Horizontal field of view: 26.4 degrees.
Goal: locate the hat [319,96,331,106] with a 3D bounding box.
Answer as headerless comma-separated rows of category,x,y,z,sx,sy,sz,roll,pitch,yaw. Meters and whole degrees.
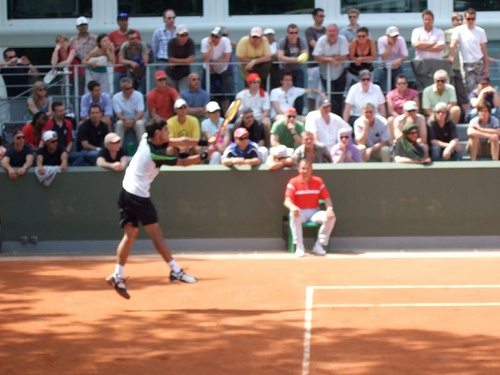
hat,1.548,-1.757,22.035,0.231,0.165,0.231,0,9,4

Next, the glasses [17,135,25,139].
glasses,-4.652,-1.038,21.751,0.073,0.075,0.166,4,10,33

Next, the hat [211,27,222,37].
hat,-0.716,-3.434,23.477,0.291,0.205,0.255,-4,9,-17

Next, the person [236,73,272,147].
person,0.108,-1.566,22.666,0.743,1.716,1.005,2,13,10

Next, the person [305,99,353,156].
person,1.592,-1.151,22.055,0.944,1.388,0.649,-5,-4,-18

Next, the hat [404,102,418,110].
hat,3.266,-1.679,21.831,0.272,0.188,0.354,0,9,10

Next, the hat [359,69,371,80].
hat,2.435,-2.399,22.565,0.163,0.237,0.208,1,5,7

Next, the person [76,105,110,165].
person,-3.225,-1.007,22.391,0.688,1.522,0.955,-6,22,-26

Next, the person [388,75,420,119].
person,3.177,-1.917,22.639,0.765,1.111,0.804,1,16,6

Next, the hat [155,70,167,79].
hat,-1.897,-2.423,22.666,0.227,0.190,0.394,4,10,-5

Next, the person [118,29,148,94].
person,-2.540,-2.539,23.588,0.644,1.923,0.769,-1,12,5

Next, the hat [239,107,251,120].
hat,-0.076,-1.526,21.939,0.188,0.225,0.162,19,10,22

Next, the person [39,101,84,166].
person,-3.926,-1.027,22.296,0.858,1.470,0.866,7,11,35

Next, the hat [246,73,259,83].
hat,0.057,-2.335,22.792,0.248,0.226,0.423,-1,9,-2

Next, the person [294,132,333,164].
person,1.223,-0.765,21.802,0.803,0.811,0.469,-10,7,-2

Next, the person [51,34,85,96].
person,-4.072,-2.749,23.885,0.661,1.338,1.225,-4,9,-20

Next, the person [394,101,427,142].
person,3.296,-1.304,21.773,0.641,0.878,0.827,-7,-5,42

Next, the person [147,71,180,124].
person,-1.830,-1.929,22.600,0.678,1.138,0.834,-4,12,-19

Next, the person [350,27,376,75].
person,2.448,-2.978,23.311,0.611,1.034,0.442,-1,8,3

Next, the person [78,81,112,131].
person,-3.287,-1.646,22.841,0.665,1.305,0.878,-3,26,-15

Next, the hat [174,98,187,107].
hat,-1.446,-1.736,22.125,0.247,0.206,0.200,0,8,5

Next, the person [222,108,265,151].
person,0.038,-1.192,22.200,0.554,0.836,0.528,-11,5,-36

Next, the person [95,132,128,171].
person,-2.765,-0.688,21.697,0.552,0.836,0.775,0,15,-36

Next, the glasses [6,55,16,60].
glasses,-5.433,-2.961,24.258,0.103,0.079,0.436,-7,11,-35

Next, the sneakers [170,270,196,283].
sneakers,-1.174,1.568,18.848,0.455,0.220,0.202,0,-1,-1

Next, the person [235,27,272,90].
person,0.082,-2.824,23.463,0.701,1.491,0.822,-1,25,-4

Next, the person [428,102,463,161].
person,3.987,-0.980,21.936,0.625,1.592,0.829,-3,11,-3

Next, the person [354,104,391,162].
person,2.542,-0.991,22.179,0.757,1.545,0.974,1,13,13

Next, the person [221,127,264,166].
person,-0.129,-0.884,21.914,0.817,0.804,1.426,1,8,7

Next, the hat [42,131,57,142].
hat,-4.088,-1.055,21.841,0.288,0.236,0.352,-3,9,-12

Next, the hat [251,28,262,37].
hat,0.133,-3.396,23.216,0.247,0.200,0.321,-3,9,-10

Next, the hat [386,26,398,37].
hat,3.123,-3.430,23.459,0.201,0.181,0.311,-2,14,1

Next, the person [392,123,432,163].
person,3.301,-0.844,21.747,0.727,0.996,0.627,-5,-16,19

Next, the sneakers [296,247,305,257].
sneakers,1.004,1.255,21.025,0.153,0.194,0.161,8,16,33

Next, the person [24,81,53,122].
person,-4.490,-1.804,23.057,0.553,0.979,0.763,-2,7,-28

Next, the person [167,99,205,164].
person,-1.340,-1.171,22.121,0.880,1.367,1.107,3,23,7

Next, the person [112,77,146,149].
person,-2.578,-1.486,22.766,0.597,1.725,1.028,-3,7,-7

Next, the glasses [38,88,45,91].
glasses,-4.455,-2.135,23.057,0.093,0.088,0.255,0,9,9

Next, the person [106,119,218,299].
person,-1.717,0.354,18.226,1.475,3.060,0.836,-2,8,-8

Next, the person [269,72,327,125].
person,1.040,-1.882,22.805,1.230,1.212,0.951,3,6,-25

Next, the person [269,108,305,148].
person,0.769,-1.238,22.082,0.595,0.715,0.843,5,27,-5

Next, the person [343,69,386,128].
person,2.416,-1.972,22.990,1.100,1.415,0.989,0,18,5

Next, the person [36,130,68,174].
person,-4.023,-0.766,21.892,0.726,0.377,1.100,-1,46,-20
